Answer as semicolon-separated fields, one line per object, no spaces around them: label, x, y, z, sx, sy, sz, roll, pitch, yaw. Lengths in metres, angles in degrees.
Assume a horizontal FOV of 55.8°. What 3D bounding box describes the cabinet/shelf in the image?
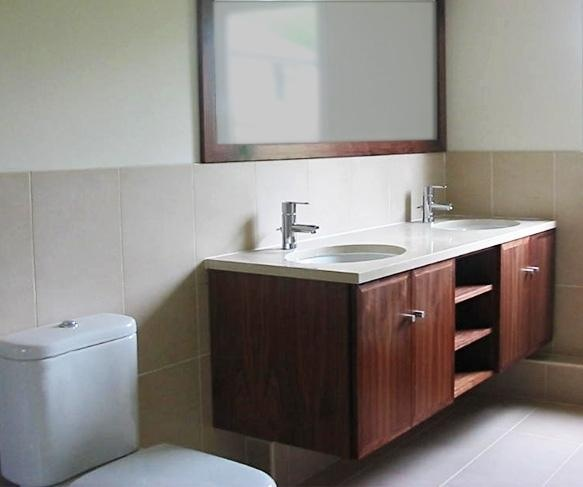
cabinet/shelf;0.462;0.350;2.318;1.524;0.628;0.576;-7;7;-39
